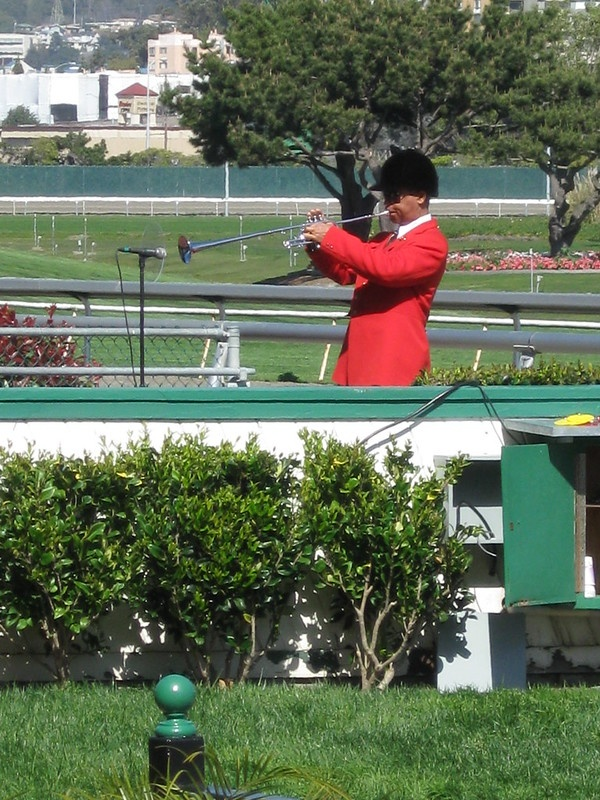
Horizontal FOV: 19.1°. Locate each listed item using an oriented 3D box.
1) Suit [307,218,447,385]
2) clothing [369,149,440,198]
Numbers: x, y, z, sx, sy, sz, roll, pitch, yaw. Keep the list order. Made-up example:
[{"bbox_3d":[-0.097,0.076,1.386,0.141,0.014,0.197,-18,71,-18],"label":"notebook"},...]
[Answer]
[{"bbox_3d":[0.280,-0.391,7.034,0.563,0.652,0.592,2,4,45],"label":"Suit"},{"bbox_3d":[0.425,-0.892,7.046,0.209,0.147,0.168,-3,7,1],"label":"clothing"}]
